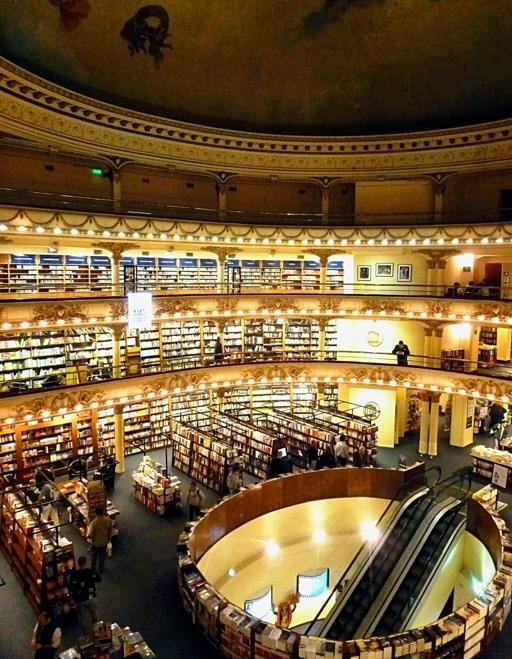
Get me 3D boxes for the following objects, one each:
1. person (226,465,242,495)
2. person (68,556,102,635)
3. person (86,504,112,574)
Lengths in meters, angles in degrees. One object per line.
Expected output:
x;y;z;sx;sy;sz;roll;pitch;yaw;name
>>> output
-0.581;4.038;12.096;0.404;0.890;1.239;-1;6;-4;person
-2.413;3.795;6.716;0.406;1.075;0.326;-7;1;-20;person
-2.900;3.876;8.639;0.418;1.193;0.333;2;3;-29;person
